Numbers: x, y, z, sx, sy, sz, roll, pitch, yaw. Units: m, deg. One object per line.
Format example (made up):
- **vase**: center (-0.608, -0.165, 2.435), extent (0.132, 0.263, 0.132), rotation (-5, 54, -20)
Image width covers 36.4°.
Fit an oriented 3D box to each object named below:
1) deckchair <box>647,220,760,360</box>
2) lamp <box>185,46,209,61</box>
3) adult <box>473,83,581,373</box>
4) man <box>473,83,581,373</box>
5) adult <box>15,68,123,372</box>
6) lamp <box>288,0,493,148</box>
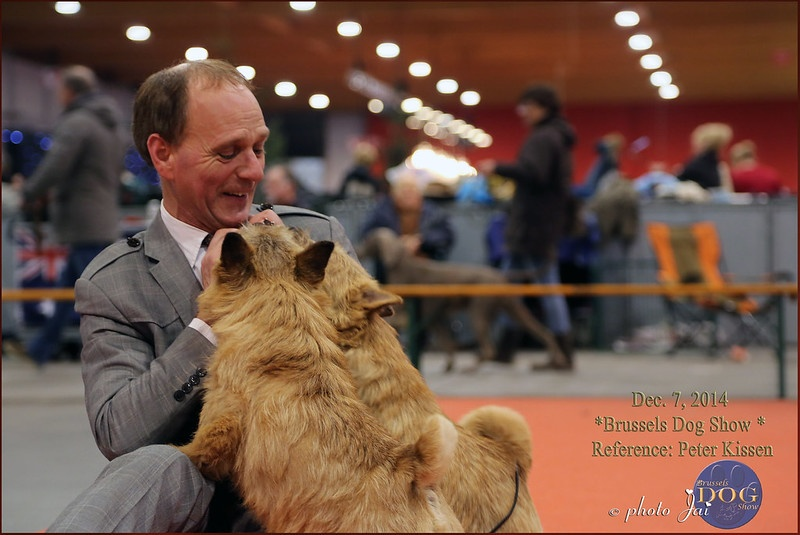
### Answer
- **deckchair**: center (2.682, 0.285, 11.120), extent (0.908, 1.389, 0.909), rotation (-5, 7, -13)
- **lamp**: center (-2.338, -2.498, 14.060), extent (0.270, 0.152, 0.311), rotation (-2, 2, -9)
- **adult**: center (1.224, -0.346, 11.460), extent (1.118, 1.234, 3.311), rotation (-2, 39, 14)
- **man**: center (1.252, -0.588, 11.982), extent (0.765, 2.402, 0.803), rotation (5, 12, 8)
- **adult**: center (-3.522, -0.486, 13.303), extent (0.987, 3.335, 1.085), rotation (9, 6, 43)
- **lamp**: center (-0.034, -2.402, 14.863), extent (0.227, 0.250, 3.277), rotation (-15, -24, 21)
